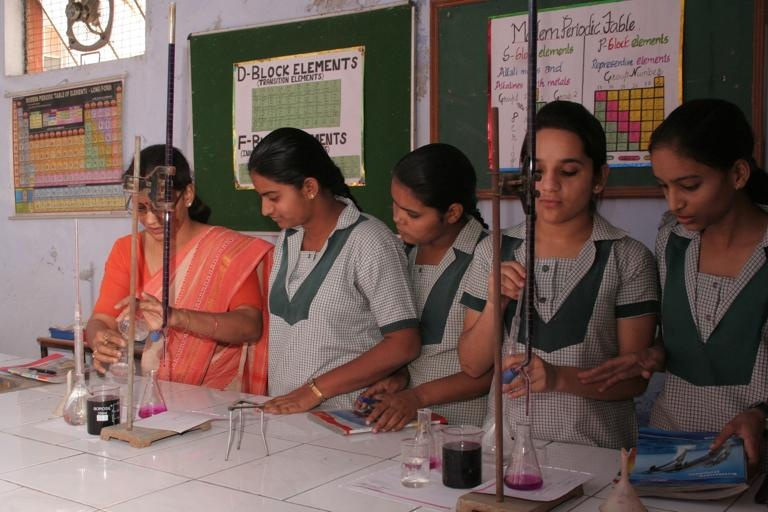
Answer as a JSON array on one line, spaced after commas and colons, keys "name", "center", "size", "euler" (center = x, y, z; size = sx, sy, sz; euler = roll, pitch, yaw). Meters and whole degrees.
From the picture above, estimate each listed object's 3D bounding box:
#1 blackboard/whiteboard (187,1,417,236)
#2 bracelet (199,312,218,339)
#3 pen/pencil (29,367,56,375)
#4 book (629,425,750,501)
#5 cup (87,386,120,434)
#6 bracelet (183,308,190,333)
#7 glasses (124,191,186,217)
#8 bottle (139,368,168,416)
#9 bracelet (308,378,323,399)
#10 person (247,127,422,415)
[{"name": "blackboard/whiteboard", "center": [-0.388, -0.734, 3.718], "size": [1.562, 1.072, 0.056], "euler": [-1, -1, 32]}, {"name": "bracelet", "center": [-0.707, 0.278, 2.828], "size": [0.100, 0.096, 0.095], "euler": [-1, 1, -2]}, {"name": "pen/pencil", "center": [-1.387, 0.462, 2.870], "size": [0.150, 0.016, 0.025], "euler": [2, 6, 29]}, {"name": "book", "center": [0.829, 0.561, 1.921], "size": [0.283, 0.124, 0.268], "euler": [1, 5, 25]}, {"name": "cup", "center": [-0.906, 0.495, 2.276], "size": [0.110, 0.120, 0.141], "euler": [1, -6, -17]}, {"name": "bracelet", "center": [-0.780, 0.260, 2.811], "size": [0.018, 0.066, 0.072], "euler": [5, -10, -5]}, {"name": "glasses", "center": [-0.827, -0.186, 2.579], "size": [0.160, 0.050, 0.168], "euler": [5, 4, 35]}, {"name": "bottle", "center": [-0.790, 0.440, 2.398], "size": [0.091, 0.164, 0.199], "euler": [-3, 5, -18]}, {"name": "bracelet", "center": [-0.242, 0.463, 2.479], "size": [0.018, 0.058, 0.059], "euler": [-35, 39, -12]}, {"name": "person", "center": [-0.197, 0.036, 2.658], "size": [0.581, 1.020, 0.502], "euler": [-2, 6, -12]}]
